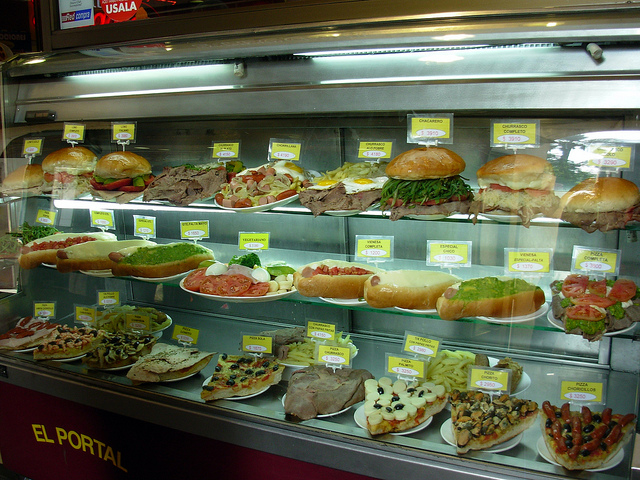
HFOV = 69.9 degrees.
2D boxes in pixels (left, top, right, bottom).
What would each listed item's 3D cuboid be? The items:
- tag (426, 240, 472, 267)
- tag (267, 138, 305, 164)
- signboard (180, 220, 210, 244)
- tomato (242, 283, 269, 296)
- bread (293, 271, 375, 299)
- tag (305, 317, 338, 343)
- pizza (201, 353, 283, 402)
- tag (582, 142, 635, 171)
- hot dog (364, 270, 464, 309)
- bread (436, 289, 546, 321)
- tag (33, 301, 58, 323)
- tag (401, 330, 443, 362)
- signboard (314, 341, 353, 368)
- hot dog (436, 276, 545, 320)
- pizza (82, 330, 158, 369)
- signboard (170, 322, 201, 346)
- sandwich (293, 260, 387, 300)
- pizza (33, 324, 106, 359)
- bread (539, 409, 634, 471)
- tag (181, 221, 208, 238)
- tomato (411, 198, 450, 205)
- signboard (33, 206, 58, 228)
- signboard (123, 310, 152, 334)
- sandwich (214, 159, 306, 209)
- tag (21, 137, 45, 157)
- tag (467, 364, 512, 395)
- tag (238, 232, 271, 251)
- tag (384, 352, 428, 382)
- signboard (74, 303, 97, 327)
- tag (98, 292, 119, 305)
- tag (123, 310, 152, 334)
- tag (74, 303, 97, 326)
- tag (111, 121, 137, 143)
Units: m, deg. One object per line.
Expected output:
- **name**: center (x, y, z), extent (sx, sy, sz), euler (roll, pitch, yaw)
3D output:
- **tag**: center (0.626, 0.061, 2.218), extent (0.236, 0.125, 0.127), euler (1, 5, 24)
- **tag**: center (-0.177, -0.483, 2.467), extent (0.221, 0.099, 0.008), euler (5, 7, 23)
- **signboard**: center (-0.725, -0.055, 2.613), extent (0.221, 0.134, 0.028), euler (0, 18, -1)
- **tomato**: center (-0.313, 0.246, 2.285), extent (0.086, 0.056, 0.108), euler (3, 6, 41)
- **bread**: center (0.059, 0.219, 2.257), extent (0.345, 0.070, 0.136), euler (2, 2, 11)
- **tag**: center (0.009, 0.471, 2.431), extent (0.223, 0.095, 0.021), euler (6, 0, 20)
- **pizza**: center (-0.392, 0.706, 2.383), extent (0.377, 0.153, 0.279), euler (0, 4, 3)
- **tag**: center (1.194, -0.341, 1.874), extent (0.188, 0.084, 0.007), euler (5, 11, 30)
- **hot dog**: center (0.425, 0.224, 2.122), extent (0.376, 0.073, 0.207), euler (0, 6, 5)
- **bread**: center (0.756, 0.269, 1.998), extent (0.385, 0.062, 0.159), euler (-3, 7, -2)
- **tag**: center (-1.732, 0.440, 2.861), extent (0.229, 0.139, 0.030), euler (2, 18, -7)
- **tag**: center (0.500, 0.522, 2.275), extent (0.246, 0.127, 0.021), euler (19, -34, -23)
- **signboard**: center (0.066, 0.596, 2.385), extent (0.227, 0.098, 0.021), euler (5, 0, 15)
- **hot dog**: center (0.747, 0.251, 1.996), extent (0.470, 0.095, 0.182), euler (-3, 11, 6)
- **pizza**: center (-1.140, 0.625, 2.645), extent (0.250, 0.065, 0.234), euler (8, 12, 35)
- **signboard**: center (-0.819, 0.568, 2.770), extent (0.173, 0.080, 0.014), euler (8, -24, 22)
- **sandwich**: center (0.085, 0.183, 2.254), extent (0.361, 0.070, 0.226), euler (4, 9, 20)
- **pizza**: center (-1.489, 0.604, 2.697), extent (0.298, 0.055, 0.187), euler (3, 18, 0)
- **bread**: center (1.079, 0.832, 1.895), extent (0.350, 0.164, 0.208), euler (2, 5, 29)
- **tag**: center (-0.721, -0.068, 2.612), extent (0.153, 0.062, 0.006), euler (0, 8, -2)
- **tomato**: center (0.505, -0.177, 2.078), extent (0.166, 0.028, 0.023), euler (0, 5, 2)
- **signboard**: center (-1.632, -0.143, 2.709), extent (0.184, 0.122, 0.017), euler (7, 5, -5)
- **signboard**: center (-1.135, 0.510, 2.840), extent (0.226, 0.098, 0.019), euler (2, 4, 12)
- **sandwich**: center (-0.335, -0.355, 2.557), extent (0.433, 0.097, 0.457), euler (-3, -9, -6)
- **tag**: center (-1.705, -0.548, 2.696), extent (0.195, 0.116, 0.015), euler (1, 9, -2)
- **tag**: center (0.781, 0.641, 2.102), extent (0.210, 0.091, 0.013), euler (3, 7, 18)
- **tag**: center (-0.370, 0.004, 2.607), extent (0.177, 0.070, 0.009), euler (1, 5, 2)
- **tag**: center (0.433, 0.622, 2.255), extent (0.226, 0.097, 0.028), euler (5, 17, 19)
- **signboard**: center (-1.476, 0.463, 2.872), extent (0.218, 0.096, 0.019), euler (5, 11, 21)
- **tag**: center (-1.319, 0.351, 2.835), extent (0.137, 0.058, 0.014), euler (1, 14, -4)
- **tag**: center (-1.136, 0.510, 2.840), extent (0.225, 0.096, 0.018), euler (2, 3, 11)
- **tag**: center (-1.475, 0.461, 2.873), extent (0.215, 0.095, 0.019), euler (4, 11, 21)
- **tag**: center (-1.127, -0.626, 2.627), extent (0.190, 0.098, 0.015), euler (2, 10, 7)
